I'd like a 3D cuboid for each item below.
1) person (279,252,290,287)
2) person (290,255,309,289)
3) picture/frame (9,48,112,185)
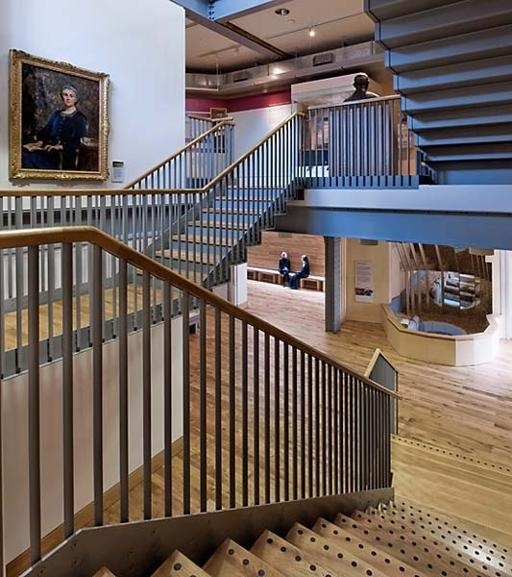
[{"bbox_3d":[0.824,-0.616,14.645,0.359,1.011,0.628,8,-8,7],"label":"person"},{"bbox_3d":[1.233,-0.479,14.421,0.519,1.115,0.609,7,-8,17],"label":"person"},{"bbox_3d":[-1.948,-1.698,5.039,0.095,1.412,1.168,4,10,23],"label":"picture/frame"}]
